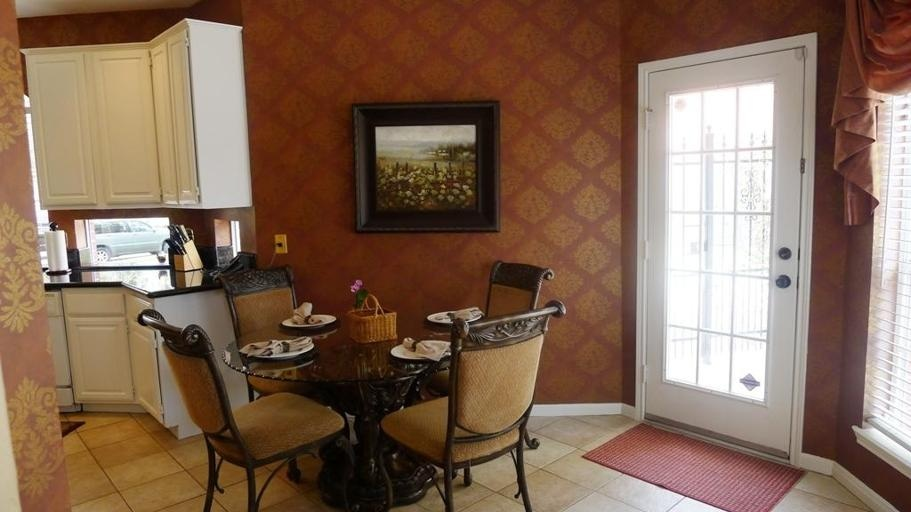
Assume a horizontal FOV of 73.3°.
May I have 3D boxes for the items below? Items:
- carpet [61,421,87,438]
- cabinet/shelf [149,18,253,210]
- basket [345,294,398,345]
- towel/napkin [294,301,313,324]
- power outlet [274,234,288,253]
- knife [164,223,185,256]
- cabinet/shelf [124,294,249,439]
[{"bbox_3d":[-3.612,1.610,5.778,0.182,0.069,0.305,-6,7,-35],"label":"carpet"},{"bbox_3d":[-2.167,-1.276,5.586,0.526,1.647,0.220,-4,8,-16],"label":"cabinet/shelf"},{"bbox_3d":[-0.678,0.496,5.023,0.423,0.376,0.419,0,2,-28],"label":"basket"},{"bbox_3d":[-1.239,0.477,5.119,0.158,0.175,0.075,3,-23,38],"label":"towel/napkin"},{"bbox_3d":[-1.652,-0.119,5.788,0.197,0.173,0.100,0,3,7],"label":"power outlet"},{"bbox_3d":[-2.855,-0.167,6.217,0.224,0.398,0.066,37,47,1],"label":"knife"},{"bbox_3d":[-2.554,0.957,5.895,0.795,1.341,0.893,11,15,39],"label":"cabinet/shelf"}]
